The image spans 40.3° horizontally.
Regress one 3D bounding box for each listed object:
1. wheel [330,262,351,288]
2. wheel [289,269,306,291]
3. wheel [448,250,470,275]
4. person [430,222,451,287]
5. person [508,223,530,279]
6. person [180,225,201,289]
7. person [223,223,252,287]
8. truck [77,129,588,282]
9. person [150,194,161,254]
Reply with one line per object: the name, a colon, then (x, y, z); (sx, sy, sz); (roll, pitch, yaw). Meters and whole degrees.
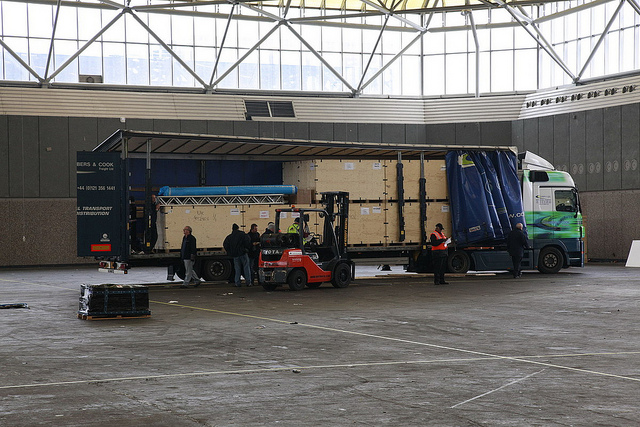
wheel: (0.748, 2.211, 31.245); (0.309, 0.932, 0.881); (-5, -1, 40)
wheel: (-0.797, 2.293, 30.362); (0.251, 0.743, 0.728); (0, -3, 37)
wheel: (5.649, 1.951, 35.151); (0.719, 0.729, 0.253); (35, -13, -21)
person: (4.458, 1.497, 31.980); (0.703, 2.256, 0.586); (4, 8, 28)
person: (7.948, 1.487, 34.624); (0.788, 2.265, 1.223); (2, 8, 13)
person: (-4.853, 1.642, 32.338); (0.705, 2.317, 1.001); (-1, 8, -9)
person: (-3.029, 1.593, 32.432); (1.090, 2.388, 0.800); (-5, 9, -34)
truck: (2.665, 0.044, 35.597); (16.421, 4.556, 4.236); (0, 0, -10)
person: (-6.177, 0.405, 32.473); (0.383, 2.110, 0.921); (-2, 8, -11)
